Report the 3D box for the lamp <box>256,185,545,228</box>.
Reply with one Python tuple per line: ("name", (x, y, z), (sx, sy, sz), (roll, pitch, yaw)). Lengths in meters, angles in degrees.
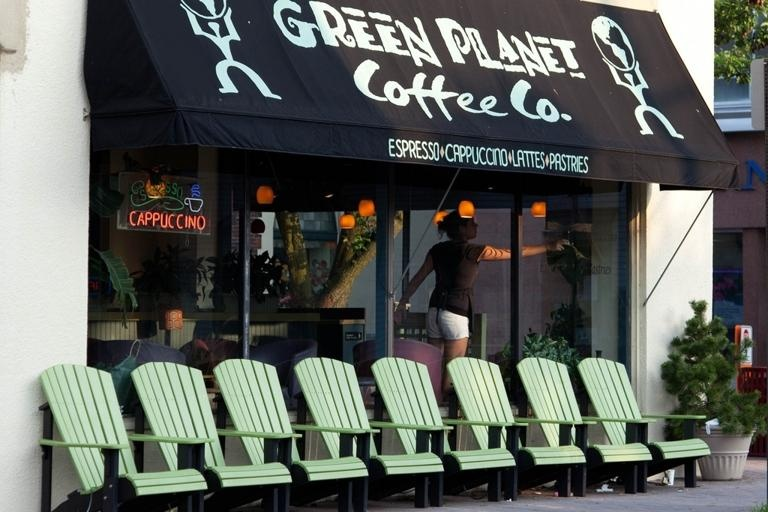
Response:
("lamp", (0.208, -0.530, 18.558), (3.633, 0.451, 0.206), (0, -2, -24))
